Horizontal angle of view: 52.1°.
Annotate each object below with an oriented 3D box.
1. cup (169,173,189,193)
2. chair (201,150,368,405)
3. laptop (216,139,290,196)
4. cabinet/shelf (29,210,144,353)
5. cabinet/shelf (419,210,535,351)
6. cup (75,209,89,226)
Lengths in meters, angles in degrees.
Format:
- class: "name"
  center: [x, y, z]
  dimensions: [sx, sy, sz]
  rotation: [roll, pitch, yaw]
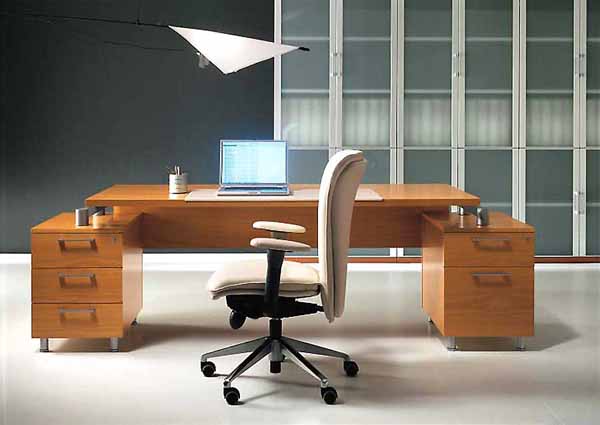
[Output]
- class: "cup"
  center: [-0.935, -0.223, 4.706]
  dimensions: [0.143, 0.147, 0.148]
  rotation: [1, 7, 0]
- class: "chair"
  center: [-0.090, 0.376, 4.131]
  dimensions: [1.098, 1.525, 1.075]
  rotation: [0, 4, -9]
- class: "laptop"
  center: [-0.357, -0.346, 4.715]
  dimensions: [0.629, 0.406, 0.436]
  rotation: [-1, 18, 0]
- class: "cabinet/shelf"
  center: [-1.588, 0.536, 4.836]
  dimensions: [0.650, 0.887, 1.011]
  rotation: [0, 3, -1]
- class: "cabinet/shelf"
  center: [1.379, 0.535, 4.848]
  dimensions: [0.626, 0.873, 1.010]
  rotation: [0, 2, 4]
- class: "cup"
  center: [-1.584, 0.032, 4.508]
  dimensions: [0.126, 0.136, 0.123]
  rotation: [2, 7, 0]
